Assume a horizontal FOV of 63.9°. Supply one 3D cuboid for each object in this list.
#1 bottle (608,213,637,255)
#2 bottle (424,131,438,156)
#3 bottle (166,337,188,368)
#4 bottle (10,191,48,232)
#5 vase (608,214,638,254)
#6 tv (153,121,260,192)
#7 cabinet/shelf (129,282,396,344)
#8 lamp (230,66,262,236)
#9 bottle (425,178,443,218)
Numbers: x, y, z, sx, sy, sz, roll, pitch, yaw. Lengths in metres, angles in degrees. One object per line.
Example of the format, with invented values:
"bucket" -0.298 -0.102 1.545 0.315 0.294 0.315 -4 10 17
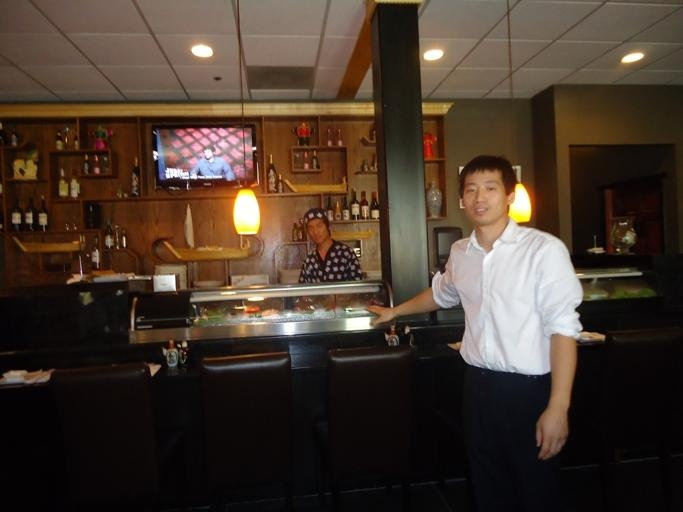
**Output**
"bottle" 2.282 -0.159 4.443 0.201 0.304 0.207 -2 1 0
"bottle" 1.047 -1.298 6.409 0.132 0.277 0.308 -2 2 15
"bottle" -1.086 0.639 3.613 0.159 0.219 0.090 2 3 4
"bottle" -3.436 -0.471 6.047 0.365 0.438 0.268 -3 1 -24
"vase" 2.280 -0.164 4.446 0.200 0.312 0.211 -2 2 -31
"tv" -1.508 -1.099 6.042 0.877 0.594 0.097 -1 5 -4
"cabinet/shelf" -0.529 0.390 3.769 1.762 0.395 0.119 -3 1 -4
"lamp" -0.838 -0.852 4.442 0.221 1.342 0.227 -6 4 2
"bottle" 1.088 -0.656 6.434 0.219 0.456 0.227 -1 -2 0
